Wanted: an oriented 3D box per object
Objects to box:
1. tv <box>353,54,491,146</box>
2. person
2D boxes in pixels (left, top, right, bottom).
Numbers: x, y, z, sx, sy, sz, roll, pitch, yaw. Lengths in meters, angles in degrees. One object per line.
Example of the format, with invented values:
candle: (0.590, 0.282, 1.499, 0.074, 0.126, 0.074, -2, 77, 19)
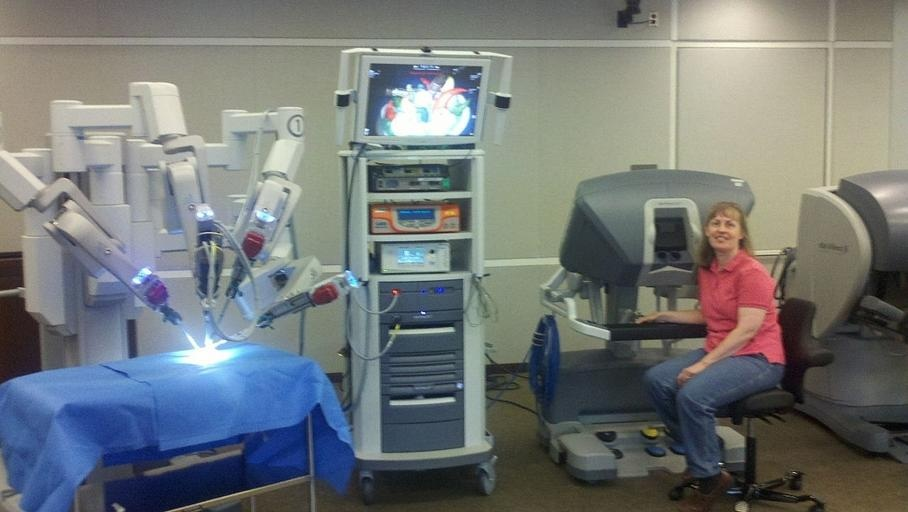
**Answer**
tv: (-0.258, -1.114, 5.288, 0.731, 0.466, 0.094, 0, 17, -6)
person: (1.830, 0.675, 5.256, 0.857, 2.058, 0.556, -10, 13, -27)
